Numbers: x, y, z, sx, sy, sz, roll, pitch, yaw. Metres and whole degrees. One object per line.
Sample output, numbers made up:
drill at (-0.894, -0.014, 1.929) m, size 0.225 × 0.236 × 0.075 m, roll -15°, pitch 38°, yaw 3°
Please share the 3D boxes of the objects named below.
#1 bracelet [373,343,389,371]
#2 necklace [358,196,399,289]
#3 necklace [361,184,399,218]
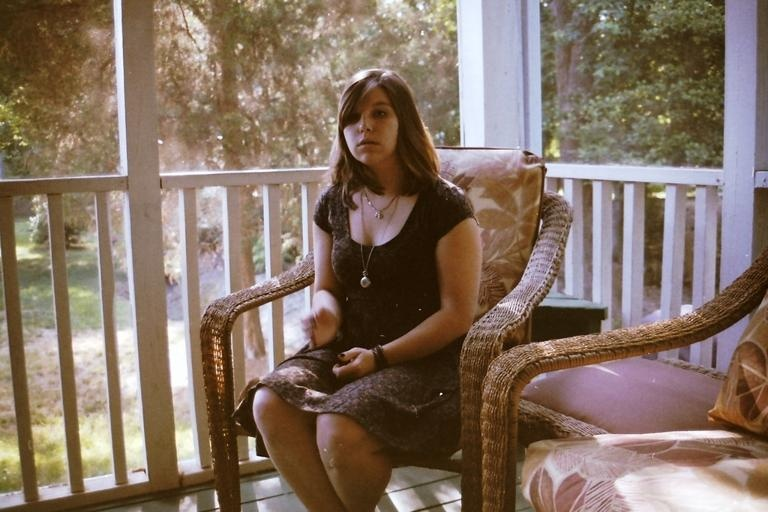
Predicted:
bracelet at (-0.012, 0.364, 2.405) m, size 0.023 × 0.070 × 0.061 m, roll -5°, pitch -35°, yaw -6°
necklace at (-0.040, -0.084, 2.593) m, size 0.111 × 0.398 × 0.029 m, roll 2°, pitch -22°, yaw 19°
necklace at (-0.024, -0.203, 2.574) m, size 0.104 × 0.110 × 0.042 m, roll 4°, pitch -29°, yaw 9°
